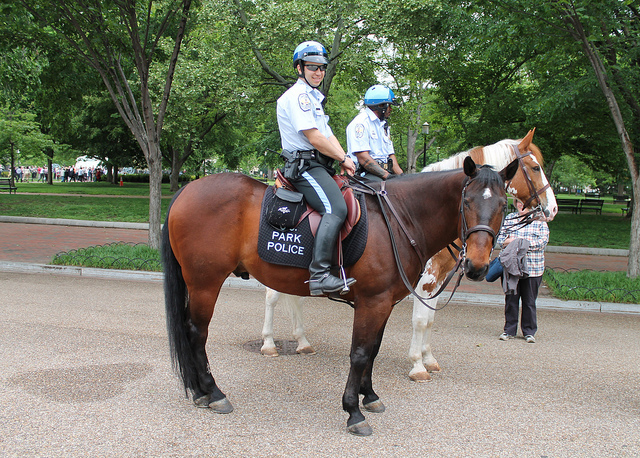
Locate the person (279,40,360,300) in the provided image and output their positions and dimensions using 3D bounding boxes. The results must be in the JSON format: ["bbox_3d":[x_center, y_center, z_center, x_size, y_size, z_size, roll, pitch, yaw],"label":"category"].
[{"bbox_3d":[-0.015,-0.738,7.051,0.752,3.228,1.280,-3,11,-25],"label":"person"}]

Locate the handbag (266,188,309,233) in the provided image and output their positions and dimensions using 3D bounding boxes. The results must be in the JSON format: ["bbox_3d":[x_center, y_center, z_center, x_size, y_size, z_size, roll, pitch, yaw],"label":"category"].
[{"bbox_3d":[-0.475,-0.226,7.117,0.507,0.270,0.636,26,44,26],"label":"handbag"}]

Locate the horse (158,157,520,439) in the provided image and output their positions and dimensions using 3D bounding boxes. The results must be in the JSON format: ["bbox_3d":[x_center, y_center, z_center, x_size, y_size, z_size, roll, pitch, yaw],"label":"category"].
[{"bbox_3d":[0.309,1.052,7.659,3.626,3.045,1.228,2,-1,11],"label":"horse"}]

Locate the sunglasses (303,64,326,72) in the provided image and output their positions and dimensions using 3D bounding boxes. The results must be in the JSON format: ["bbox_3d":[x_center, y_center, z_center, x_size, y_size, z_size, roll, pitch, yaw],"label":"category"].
[{"bbox_3d":[-0.076,-2.070,7.188,0.296,0.096,0.122,1,11,-8],"label":"sunglasses"}]

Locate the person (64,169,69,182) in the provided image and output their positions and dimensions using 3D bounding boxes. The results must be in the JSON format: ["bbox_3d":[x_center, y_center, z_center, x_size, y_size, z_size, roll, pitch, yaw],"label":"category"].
[{"bbox_3d":[-27.408,-5.768,60.089,0.822,1.516,0.386,0,-1,3],"label":"person"}]

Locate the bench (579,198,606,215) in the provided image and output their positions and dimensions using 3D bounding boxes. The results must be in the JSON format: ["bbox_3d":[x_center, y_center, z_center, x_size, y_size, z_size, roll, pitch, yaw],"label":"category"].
[{"bbox_3d":[16.881,-1.353,34.659,1.377,0.914,0.592,0,-1,3],"label":"bench"}]

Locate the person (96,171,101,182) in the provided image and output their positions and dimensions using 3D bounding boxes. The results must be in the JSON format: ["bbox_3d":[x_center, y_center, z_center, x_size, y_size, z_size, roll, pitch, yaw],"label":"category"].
[{"bbox_3d":[-23.529,-5.521,58.801,0.338,0.970,1.045,-2,11,-22],"label":"person"}]
